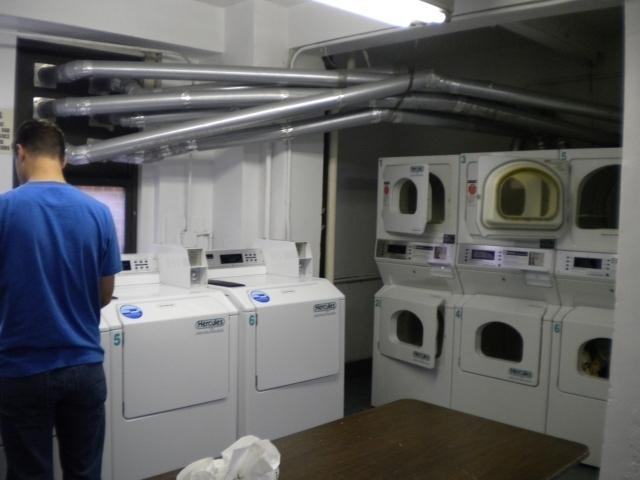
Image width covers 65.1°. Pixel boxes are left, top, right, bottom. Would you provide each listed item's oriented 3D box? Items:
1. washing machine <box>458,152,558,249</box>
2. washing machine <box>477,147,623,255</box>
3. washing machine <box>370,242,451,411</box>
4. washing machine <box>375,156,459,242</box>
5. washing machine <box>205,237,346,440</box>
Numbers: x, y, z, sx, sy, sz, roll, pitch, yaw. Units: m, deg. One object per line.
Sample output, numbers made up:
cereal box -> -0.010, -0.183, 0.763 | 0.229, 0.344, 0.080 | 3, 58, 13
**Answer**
washing machine -> 1.623, -0.281, 4.076 | 0.799, 0.756, 0.599 | 2, 1, 19
washing machine -> 2.059, -0.307, 3.906 | 0.731, 0.759, 1.219 | 0, 2, -33
washing machine -> 0.981, 0.797, 4.652 | 0.840, 1.449, 0.808 | 1, 0, 35
washing machine -> 0.912, -0.354, 4.555 | 0.773, 0.745, 0.534 | 4, 5, 39
washing machine -> -0.444, 0.847, 4.055 | 1.015, 1.592, 1.090 | 1, 2, 37
